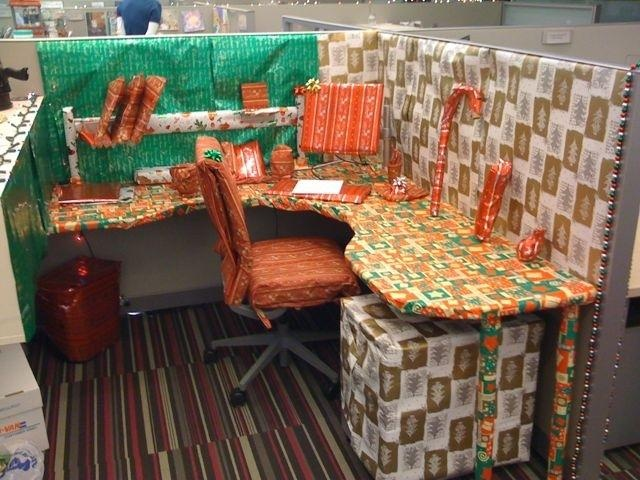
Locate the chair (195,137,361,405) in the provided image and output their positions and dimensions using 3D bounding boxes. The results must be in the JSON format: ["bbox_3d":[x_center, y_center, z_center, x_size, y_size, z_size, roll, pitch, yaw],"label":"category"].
[{"bbox_3d":[-0.237,0.126,2.287,0.788,1.106,0.729,-4,18,-13],"label":"chair"}]

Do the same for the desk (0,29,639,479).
[{"bbox_3d":[0.139,0.027,2.555,2.162,1.310,2.102,0,31,1],"label":"desk"}]

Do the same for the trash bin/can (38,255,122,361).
[{"bbox_3d":[-1.325,0.382,2.494,0.390,0.456,0.396,24,34,36],"label":"trash bin/can"}]
